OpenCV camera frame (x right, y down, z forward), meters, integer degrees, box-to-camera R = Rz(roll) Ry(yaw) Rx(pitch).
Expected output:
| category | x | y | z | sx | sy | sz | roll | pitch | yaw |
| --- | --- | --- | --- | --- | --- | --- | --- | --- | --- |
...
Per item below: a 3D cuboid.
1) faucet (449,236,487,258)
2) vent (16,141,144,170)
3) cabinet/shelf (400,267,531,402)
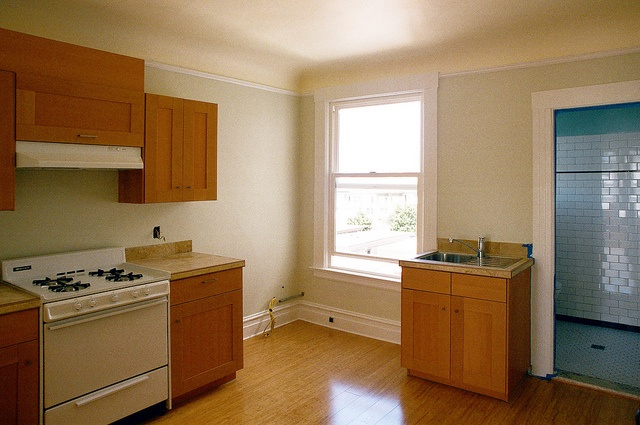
| category | x | y | z | sx | sy | sz | roll | pitch | yaw |
| --- | --- | --- | --- | --- | --- | --- | --- | --- | --- |
| faucet | 1.625 | 0.364 | 5.076 | 0.412 | 0.218 | 0.165 | 7 | 16 | 29 |
| vent | -2.104 | -0.497 | 4.029 | 0.507 | 0.109 | 0.348 | 2 | -6 | -39 |
| cabinet/shelf | 1.476 | 1.149 | 4.645 | 1.320 | 1.188 | 0.625 | 4 | 14 | 18 |
